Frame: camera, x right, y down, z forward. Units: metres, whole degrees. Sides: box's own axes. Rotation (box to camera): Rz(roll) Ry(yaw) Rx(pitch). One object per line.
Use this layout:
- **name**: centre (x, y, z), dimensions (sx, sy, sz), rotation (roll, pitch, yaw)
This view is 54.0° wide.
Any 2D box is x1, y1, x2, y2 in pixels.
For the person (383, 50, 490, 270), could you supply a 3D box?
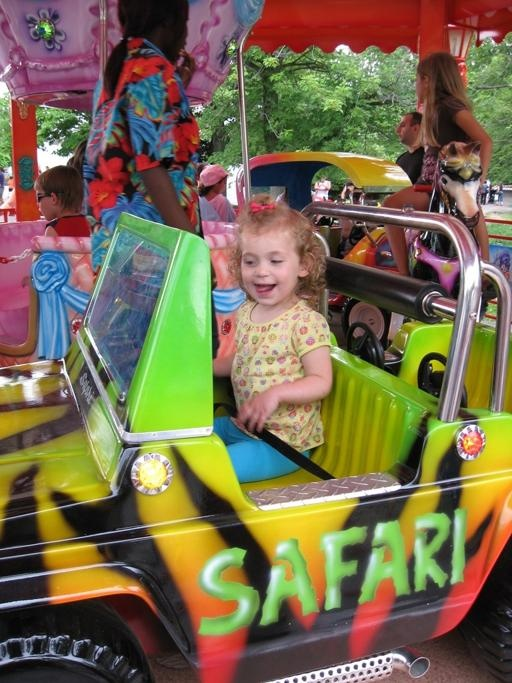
- **person**: centre (1.067, -1.043, 3.019), dimensions (0.642, 1.263, 0.457), rotation (2, 17, 29)

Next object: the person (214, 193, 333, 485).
- **person**: centre (0.043, -0.003, 1.265), dimensions (0.304, 0.702, 0.413), rotation (1, 13, -2)

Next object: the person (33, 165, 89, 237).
- **person**: centre (-1.296, -0.960, 3.365), dimensions (0.289, 0.471, 0.929), rotation (-4, 14, -22)

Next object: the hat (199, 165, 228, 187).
- **hat**: centre (-0.495, -1.906, 5.755), dimensions (0.304, 0.261, 0.342), rotation (0, 13, -6)
